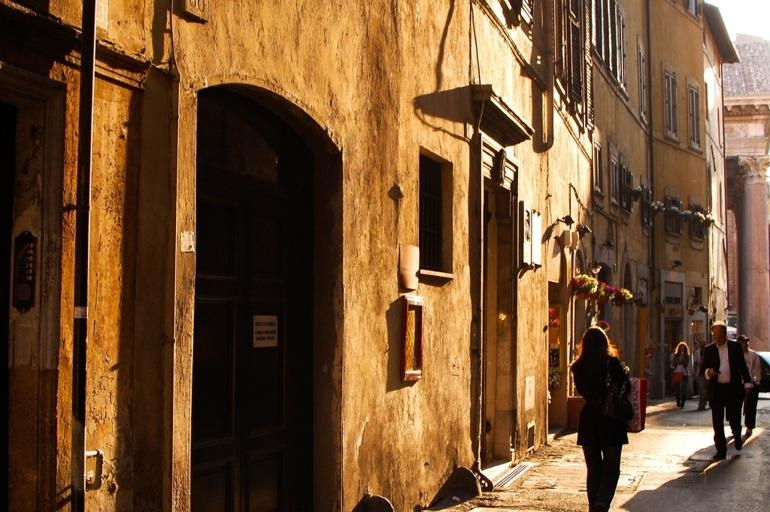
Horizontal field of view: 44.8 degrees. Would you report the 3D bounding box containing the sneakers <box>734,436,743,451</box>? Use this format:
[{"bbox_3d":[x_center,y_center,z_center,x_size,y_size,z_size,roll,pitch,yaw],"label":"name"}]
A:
[{"bbox_3d":[5.567,2.990,14.767,0.094,0.335,0.123,-3,-10,13],"label":"sneakers"}]

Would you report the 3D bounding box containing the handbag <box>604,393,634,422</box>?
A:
[{"bbox_3d":[2.442,1.618,9.895,0.322,0.415,0.212,2,1,6],"label":"handbag"}]

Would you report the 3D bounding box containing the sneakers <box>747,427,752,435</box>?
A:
[{"bbox_3d":[6.641,3.246,17.120,0.109,0.103,0.124,-3,-8,25],"label":"sneakers"}]

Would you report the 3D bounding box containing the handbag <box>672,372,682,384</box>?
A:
[{"bbox_3d":[7.600,3.223,24.434,0.246,0.304,0.102,4,8,37],"label":"handbag"}]

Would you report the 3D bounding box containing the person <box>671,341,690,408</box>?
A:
[{"bbox_3d":[7.854,3.237,24.925,0.459,1.710,1.453,-6,-11,18],"label":"person"}]
